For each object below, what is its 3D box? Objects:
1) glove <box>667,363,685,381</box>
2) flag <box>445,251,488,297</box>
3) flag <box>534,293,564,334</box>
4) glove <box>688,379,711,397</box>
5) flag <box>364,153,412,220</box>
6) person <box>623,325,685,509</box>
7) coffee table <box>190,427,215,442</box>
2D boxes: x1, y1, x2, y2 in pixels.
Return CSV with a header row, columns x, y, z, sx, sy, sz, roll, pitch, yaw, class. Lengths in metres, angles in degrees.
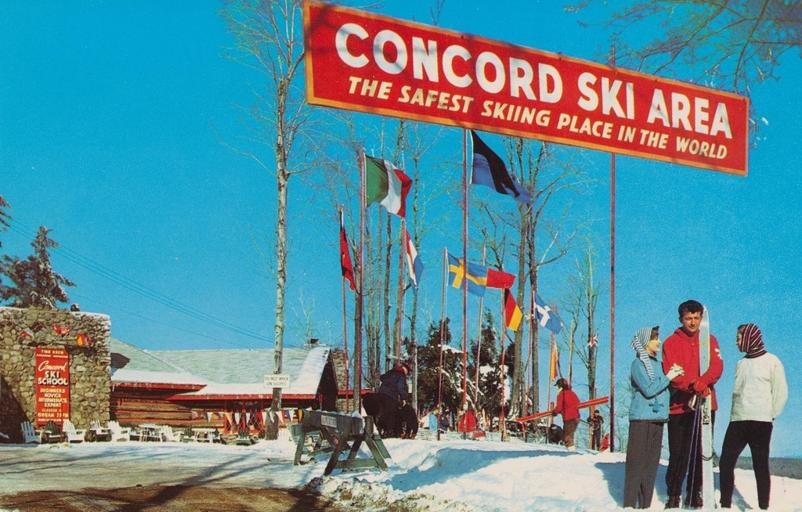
x,y,z,sx,sy,sz,roll,pitch,yaw,class
6.308,2.646,20.803,0.451,0.330,0.214,2,-14,-4,glove
2.213,0.620,30.102,1.517,1.171,0.127,21,-33,-24,flag
6.120,2.330,37.693,0.718,1.723,1.648,2,-15,-5,flag
6.798,2.998,20.608,0.320,0.221,0.440,11,6,-12,glove
-0.550,-2.714,33.603,1.593,2.078,1.505,1,-14,-2,flag
5.729,3.707,20.870,1.011,4.002,1.112,4,-14,-12,person
-7.957,7.179,36.428,0.683,0.466,0.718,0,-6,-3,coffee table
